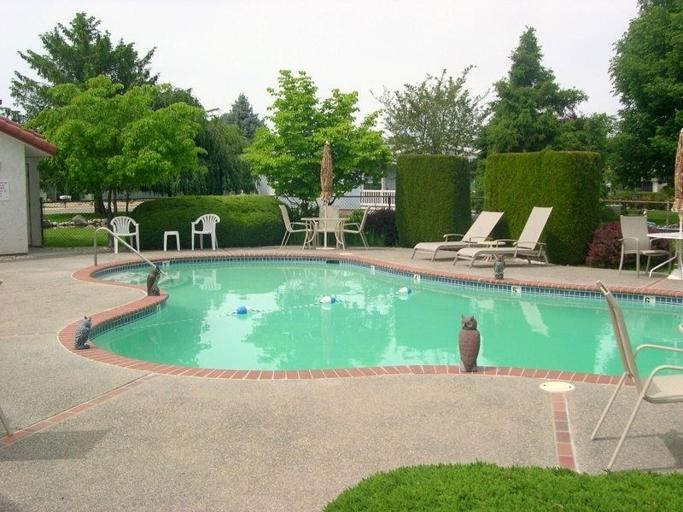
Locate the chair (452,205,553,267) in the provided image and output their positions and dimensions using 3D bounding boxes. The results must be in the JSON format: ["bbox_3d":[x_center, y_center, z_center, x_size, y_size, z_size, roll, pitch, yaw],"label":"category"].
[{"bbox_3d":[4.067,-0.473,14.373,2.721,1.948,1.287,0,1,-15],"label":"chair"}]

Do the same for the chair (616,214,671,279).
[{"bbox_3d":[6.595,-0.269,12.489,0.967,1.267,0.911,-2,5,-37],"label":"chair"}]

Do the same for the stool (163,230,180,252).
[{"bbox_3d":[-5.273,-0.474,17.561,0.548,0.783,0.579,0,1,-16],"label":"stool"}]

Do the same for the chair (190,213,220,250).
[{"bbox_3d":[-4.258,-0.769,17.898,0.990,1.457,1.027,0,2,8],"label":"chair"}]

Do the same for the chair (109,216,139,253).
[{"bbox_3d":[-6.361,-0.651,16.692,0.771,1.044,0.833,2,6,38],"label":"chair"}]

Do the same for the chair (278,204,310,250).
[{"bbox_3d":[-1.665,-1.040,19.122,1.286,1.965,1.269,-1,6,4],"label":"chair"}]
